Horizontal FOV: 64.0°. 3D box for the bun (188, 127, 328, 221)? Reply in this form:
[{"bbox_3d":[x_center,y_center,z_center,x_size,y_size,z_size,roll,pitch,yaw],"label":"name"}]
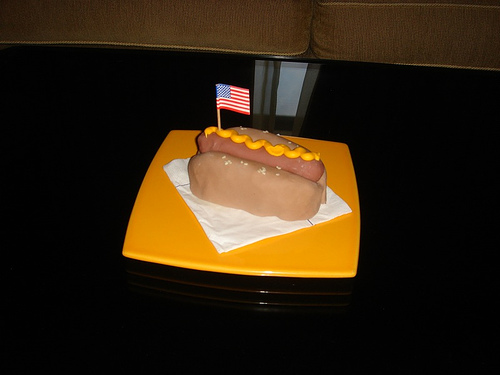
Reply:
[{"bbox_3d":[0.020,-0.009,1.155,0.299,0.109,0.233,16,55,6],"label":"bun"}]

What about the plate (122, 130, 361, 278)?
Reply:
[{"bbox_3d":[-0.001,0.029,1.219,0.656,0.178,0.490,6,31,2],"label":"plate"}]

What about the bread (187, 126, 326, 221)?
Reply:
[{"bbox_3d":[0.013,-0.024,1.159,0.301,0.108,0.230,14,59,4],"label":"bread"}]
